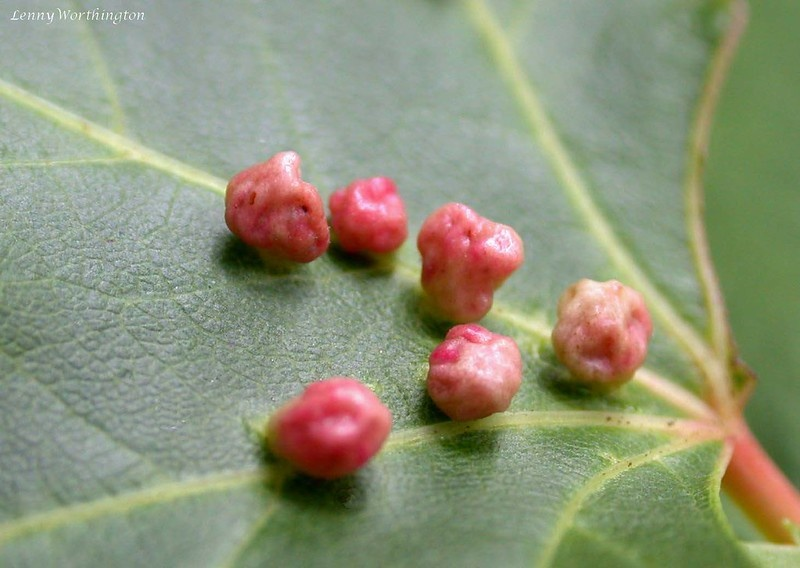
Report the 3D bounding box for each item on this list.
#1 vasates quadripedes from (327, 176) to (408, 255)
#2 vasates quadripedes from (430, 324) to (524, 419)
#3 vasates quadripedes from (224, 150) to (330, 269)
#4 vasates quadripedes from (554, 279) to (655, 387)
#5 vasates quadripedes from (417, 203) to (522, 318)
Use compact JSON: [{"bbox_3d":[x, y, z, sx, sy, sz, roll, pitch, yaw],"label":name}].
[{"bbox_3d":[-0.032,-0.076,0.984,0.094,0.059,0.087,-7,68,-15],"label":"vasates quadripedes"},{"bbox_3d":[0.078,0.091,0.889,0.082,0.052,0.090,35,67,17],"label":"vasates quadripedes"},{"bbox_3d":[-0.137,-0.073,0.908,0.109,0.072,0.114,-2,75,0],"label":"vasates quadripedes"},{"bbox_3d":[0.224,0.047,0.934,0.102,0.069,0.115,5,88,1],"label":"vasates quadripedes"},{"bbox_3d":[0.071,-0.026,0.988,0.116,0.069,0.121,24,98,2],"label":"vasates quadripedes"}]
